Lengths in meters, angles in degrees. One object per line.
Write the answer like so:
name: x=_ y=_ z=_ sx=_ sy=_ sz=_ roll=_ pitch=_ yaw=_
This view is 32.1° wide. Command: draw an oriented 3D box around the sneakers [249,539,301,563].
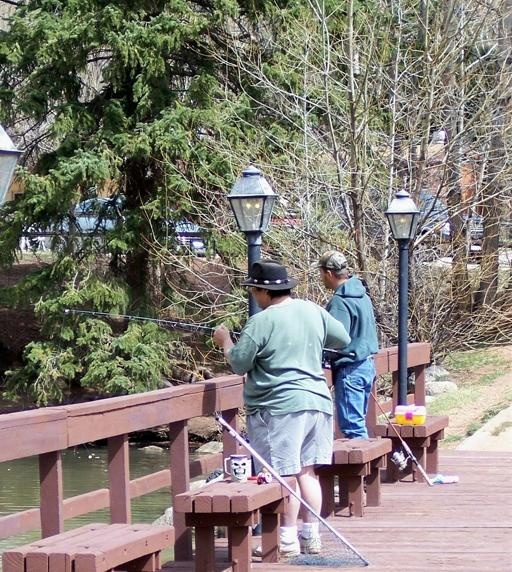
sneakers: x=0.093 y=1.282 z=4.289 sx=0.268 sy=0.100 sz=0.090 roll=1 pitch=0 yaw=0

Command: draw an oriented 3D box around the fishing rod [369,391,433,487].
fishing rod: x=1.056 y=1.130 z=6.457 sx=0.078 sy=0.982 sz=0.035 roll=-40 pitch=-3 yaw=23

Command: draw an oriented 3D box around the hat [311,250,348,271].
hat: x=0.469 y=-0.162 z=5.438 sx=0.170 sy=0.079 sz=0.114 roll=4 pitch=4 yaw=17
